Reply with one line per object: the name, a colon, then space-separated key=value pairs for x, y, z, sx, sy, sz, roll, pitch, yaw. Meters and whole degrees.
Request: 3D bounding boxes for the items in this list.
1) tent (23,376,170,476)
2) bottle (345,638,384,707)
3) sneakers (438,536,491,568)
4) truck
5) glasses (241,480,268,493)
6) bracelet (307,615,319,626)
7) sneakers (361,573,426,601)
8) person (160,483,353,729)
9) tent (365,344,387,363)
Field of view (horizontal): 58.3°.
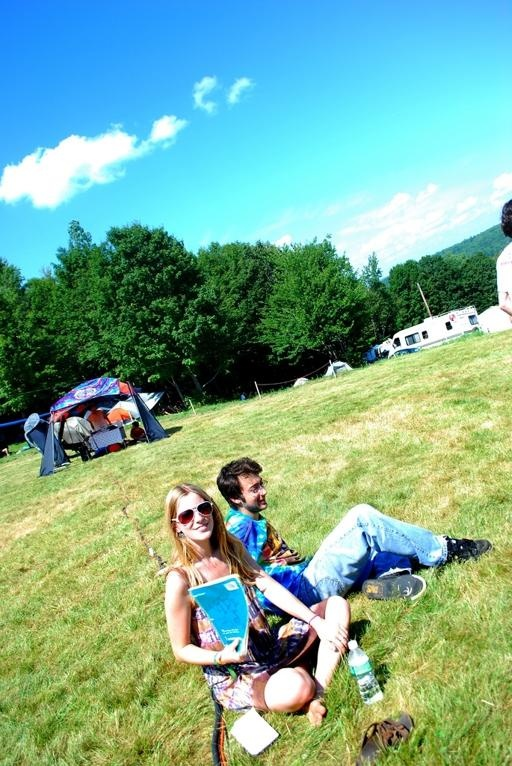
tent: x=-6.792 y=1.642 z=19.107 sx=4.761 sy=4.226 sz=3.036 roll=-15 pitch=3 yaw=-5
bottle: x=0.488 y=1.337 z=2.118 sx=0.122 sy=0.254 sz=0.214 roll=-13 pitch=3 yaw=3
sneakers: x=1.331 y=1.104 z=2.933 sx=0.352 sy=0.158 sz=0.130 roll=-11 pitch=40 yaw=7
truck: x=12.361 y=-3.517 z=32.357 sx=2.297 sy=2.234 sz=6.838 roll=-16 pitch=2 yaw=-27
glasses: x=-0.032 y=0.690 z=2.935 sx=0.106 sy=0.072 sz=0.115 roll=4 pitch=-18 yaw=-20
bracelet: x=0.282 y=1.200 z=2.268 sx=0.044 sy=0.014 sz=0.047 roll=-53 pitch=-4 yaw=8
sneakers: x=0.855 y=1.280 z=2.876 sx=0.370 sy=0.154 sz=0.155 roll=-12 pitch=-8 yaw=33
person: x=-0.006 y=1.104 z=2.304 sx=0.771 sy=1.177 sz=0.801 roll=-20 pitch=-8 yaw=41
tent: x=11.790 y=-2.755 z=45.878 sx=1.458 sy=1.336 sz=3.063 roll=-15 pitch=3 yaw=-6
